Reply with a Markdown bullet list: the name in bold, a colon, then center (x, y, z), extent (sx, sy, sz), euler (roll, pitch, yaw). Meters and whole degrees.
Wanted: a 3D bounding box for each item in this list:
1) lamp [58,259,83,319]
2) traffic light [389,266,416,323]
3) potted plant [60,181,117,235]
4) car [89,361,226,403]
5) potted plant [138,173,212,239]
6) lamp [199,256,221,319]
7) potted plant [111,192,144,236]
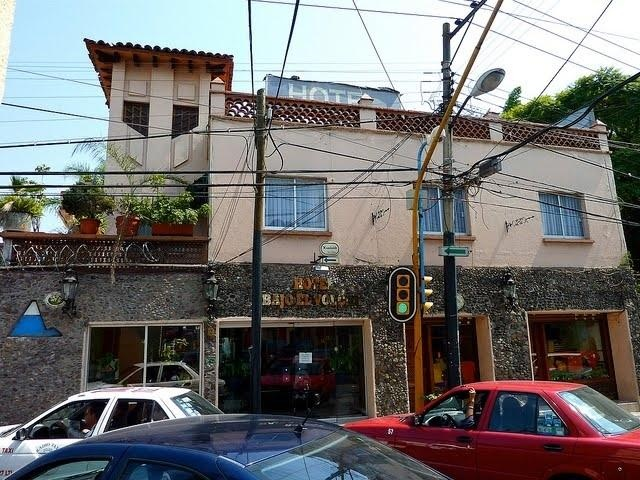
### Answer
- **lamp**: center (-5.979, 1.231, 12.694), extent (0.420, 1.239, 0.411), euler (7, -13, -22)
- **traffic light**: center (2.023, 1.341, 13.019), extent (0.642, 1.311, 0.752), euler (0, -12, 8)
- **potted plant**: center (-5.933, -0.741, 13.583), extent (1.071, 1.289, 1.314), euler (0, -13, -14)
- **car**: center (-4.195, 3.491, 13.023), extent (2.258, 0.664, 0.963), euler (2, -11, -3)
- **potted plant**: center (-3.902, -0.691, 14.531), extent (2.361, 1.528, 1.955), euler (1, -20, -9)
- **lamp**: center (-2.752, 1.312, 13.367), extent (0.463, 1.401, 0.390), euler (4, -12, -10)
- **potted plant**: center (-4.893, -0.555, 13.586), extent (0.579, 1.310, 0.933), euler (6, -13, -19)
